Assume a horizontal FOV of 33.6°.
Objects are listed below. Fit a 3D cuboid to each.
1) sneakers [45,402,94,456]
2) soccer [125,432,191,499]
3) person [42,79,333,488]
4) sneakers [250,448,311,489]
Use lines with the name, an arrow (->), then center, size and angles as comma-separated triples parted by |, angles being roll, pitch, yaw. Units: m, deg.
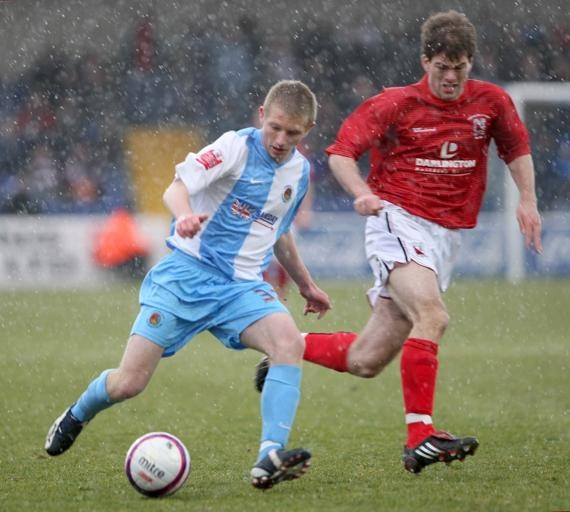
sneakers -> -1.125, 0.912, 4.797 | 0.145, 0.126, 0.353 | -19, 32, 39
soccer -> -0.603, 0.986, 4.462 | 0.298, 0.253, 0.195 | 0, 8, -11
person -> -0.311, 0.068, 4.647 | 1.273, 1.861, 1.045 | 0, 8, -10
sneakers -> -0.026, 0.946, 4.374 | 0.344, 0.178, 0.135 | -16, -6, 34
